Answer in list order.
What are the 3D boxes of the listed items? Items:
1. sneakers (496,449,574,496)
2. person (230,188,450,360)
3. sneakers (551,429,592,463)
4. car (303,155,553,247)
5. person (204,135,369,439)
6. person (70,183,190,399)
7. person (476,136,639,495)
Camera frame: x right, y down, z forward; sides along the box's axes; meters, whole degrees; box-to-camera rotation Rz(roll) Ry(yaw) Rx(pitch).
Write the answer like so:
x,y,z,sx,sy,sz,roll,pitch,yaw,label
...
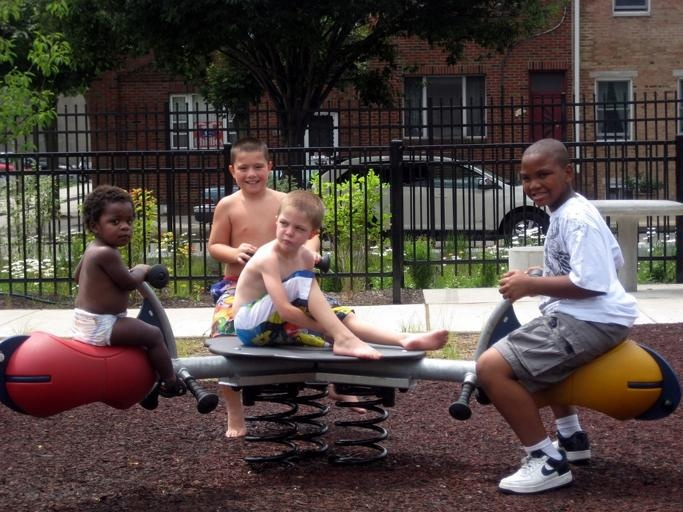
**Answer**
x,y,z,sx,sy,sz,roll,pitch,yaw,label
1.086,1.218,4.846,0.493,0.217,0.176,-4,-1,-12,sneakers
-0.007,0.116,5.106,1.267,0.897,0.522,6,11,17,person
1.411,1.153,5.208,0.130,0.146,0.334,-1,0,-2,sneakers
1.885,-0.869,13.704,4.315,1.501,1.807,1,7,7,car
-0.490,0.182,5.733,1.186,1.830,1.191,11,21,36,person
-1.262,0.219,4.931,0.589,1.241,0.429,-4,11,-14,person
1.235,0.324,4.859,0.870,1.949,0.582,-9,13,-37,person
